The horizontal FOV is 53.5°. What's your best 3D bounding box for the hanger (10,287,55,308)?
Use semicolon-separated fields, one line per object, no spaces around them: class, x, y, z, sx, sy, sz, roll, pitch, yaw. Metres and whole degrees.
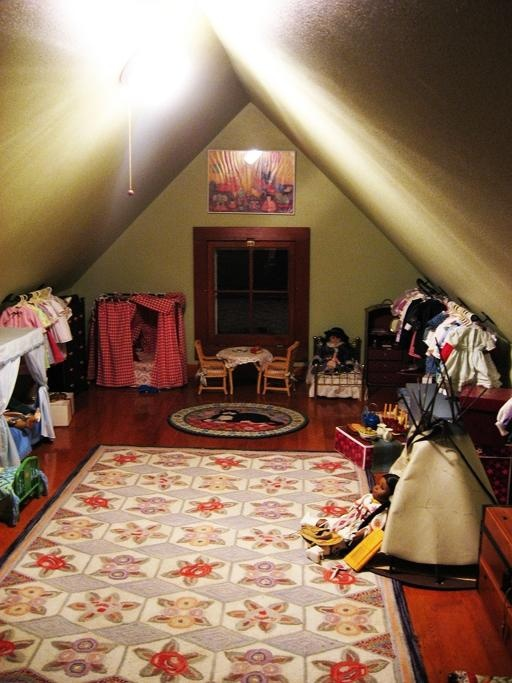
hanger;-2.569;-0.507;5.898;0.253;0.108;0.340;4;23;27

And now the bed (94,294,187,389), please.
bed;-1.804;-0.026;7.794;1.863;1.624;1.325;-1;7;-8

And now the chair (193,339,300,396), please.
chair;-0.169;0.370;7.252;1.420;0.696;0.790;2;11;4

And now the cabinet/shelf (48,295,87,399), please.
cabinet/shelf;-2.554;0.065;6.917;0.312;1.343;0.987;2;11;2

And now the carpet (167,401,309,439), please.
carpet;-0.218;0.914;5.995;1.597;0.047;1.271;2;10;4

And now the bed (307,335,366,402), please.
bed;1.128;0.296;7.257;0.801;0.846;0.937;2;11;6

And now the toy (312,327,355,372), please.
toy;1.114;0.217;7.410;0.547;0.346;0.700;3;45;8

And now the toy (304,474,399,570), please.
toy;0.612;1.186;3.350;0.656;0.198;0.396;-35;10;-6
